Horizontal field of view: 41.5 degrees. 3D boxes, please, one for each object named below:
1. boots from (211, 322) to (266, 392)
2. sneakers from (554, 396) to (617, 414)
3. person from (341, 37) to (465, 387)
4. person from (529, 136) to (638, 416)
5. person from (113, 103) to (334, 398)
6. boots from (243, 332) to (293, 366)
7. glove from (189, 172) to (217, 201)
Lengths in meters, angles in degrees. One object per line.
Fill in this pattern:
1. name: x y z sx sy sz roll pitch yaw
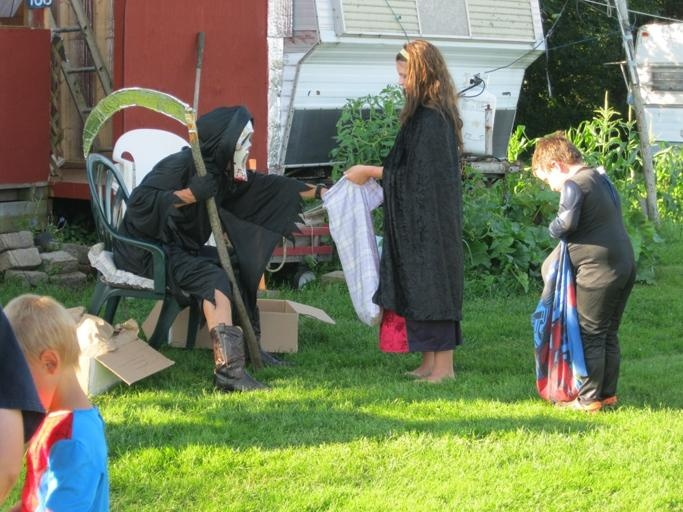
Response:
1. boots: -0.575 0.683 6.063 0.482 0.527 0.283 1 1 0
2. sneakers: 1.538 0.962 5.789 0.366 0.159 0.128 -11 -7 39
3. person: 0.543 -0.300 6.213 0.633 2.319 0.554 2 13 5
4. person: 1.539 0.082 5.833 0.476 1.681 0.635 -9 16 -38
5. person: -0.885 -0.146 6.359 1.059 1.830 0.995 9 15 30
6. boots: -0.469 0.675 6.629 0.130 0.243 0.346 0 12 -32
7. glove: -0.906 -0.464 6.079 0.125 0.189 0.158 12 16 38
